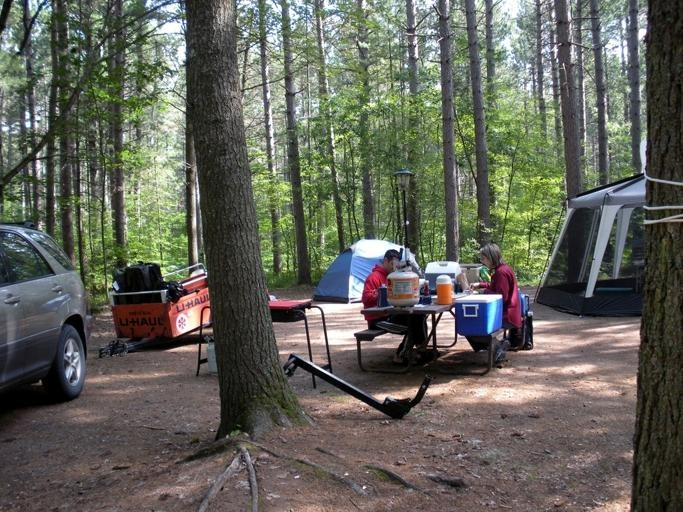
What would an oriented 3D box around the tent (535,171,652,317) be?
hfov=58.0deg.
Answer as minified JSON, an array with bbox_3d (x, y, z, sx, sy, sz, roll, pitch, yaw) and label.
[{"bbox_3d":[5.704,-0.294,13.862,1.982,2.954,3.156,1,6,25],"label":"tent"}]

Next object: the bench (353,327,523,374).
[{"bbox_3d":[0.984,1.361,8.745,0.905,0.330,1.361,0,0,34],"label":"bench"}]

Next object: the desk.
[{"bbox_3d":[0.938,1.103,8.751,1.000,0.733,1.603,0,2,25],"label":"desk"}]

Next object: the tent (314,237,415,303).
[{"bbox_3d":[0.346,0.417,17.198,1.887,1.060,2.315,1,4,33],"label":"tent"}]

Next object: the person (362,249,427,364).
[{"bbox_3d":[0.739,0.814,9.326,0.972,1.808,0.830,-5,-1,9],"label":"person"}]

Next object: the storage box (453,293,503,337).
[{"bbox_3d":[1.878,0.796,8.392,0.496,0.451,0.863,-2,0,26],"label":"storage box"}]
